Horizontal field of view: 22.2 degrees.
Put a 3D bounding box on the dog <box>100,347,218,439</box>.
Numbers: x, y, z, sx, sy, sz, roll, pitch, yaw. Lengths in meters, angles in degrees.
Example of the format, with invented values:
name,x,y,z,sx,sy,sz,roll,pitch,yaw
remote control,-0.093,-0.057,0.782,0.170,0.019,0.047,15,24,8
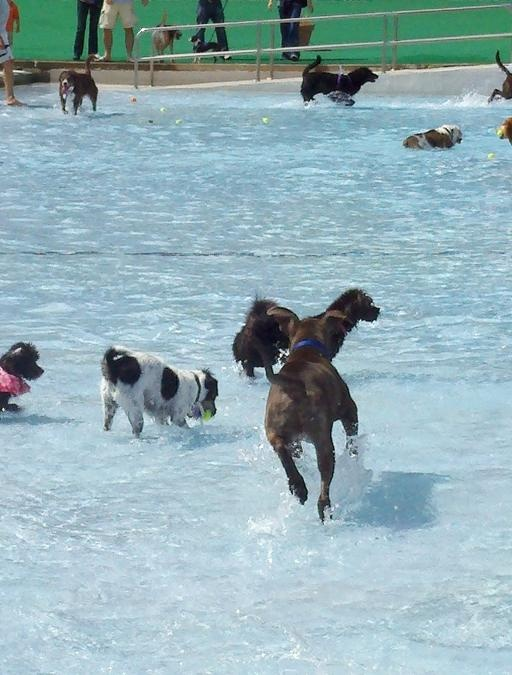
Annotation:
name,x,y,z,sx,sy,sz,roll,pitch,yaw
dog,-0.514,0.335,7.047,0.812,0.432,0.239,5,8,-44

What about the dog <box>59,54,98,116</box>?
name,x,y,z,sx,sy,sz,roll,pitch,yaw
dog,-2.412,-3.322,17.539,0.383,0.818,1.283,5,13,10

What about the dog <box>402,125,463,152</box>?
name,x,y,z,sx,sy,sz,roll,pitch,yaw
dog,2.021,-2.273,15.045,0.651,0.291,0.400,3,17,-1

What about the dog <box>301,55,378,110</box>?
name,x,y,z,sx,sy,sz,roll,pitch,yaw
dog,1.052,-3.675,18.883,0.773,0.686,1.058,12,19,26
